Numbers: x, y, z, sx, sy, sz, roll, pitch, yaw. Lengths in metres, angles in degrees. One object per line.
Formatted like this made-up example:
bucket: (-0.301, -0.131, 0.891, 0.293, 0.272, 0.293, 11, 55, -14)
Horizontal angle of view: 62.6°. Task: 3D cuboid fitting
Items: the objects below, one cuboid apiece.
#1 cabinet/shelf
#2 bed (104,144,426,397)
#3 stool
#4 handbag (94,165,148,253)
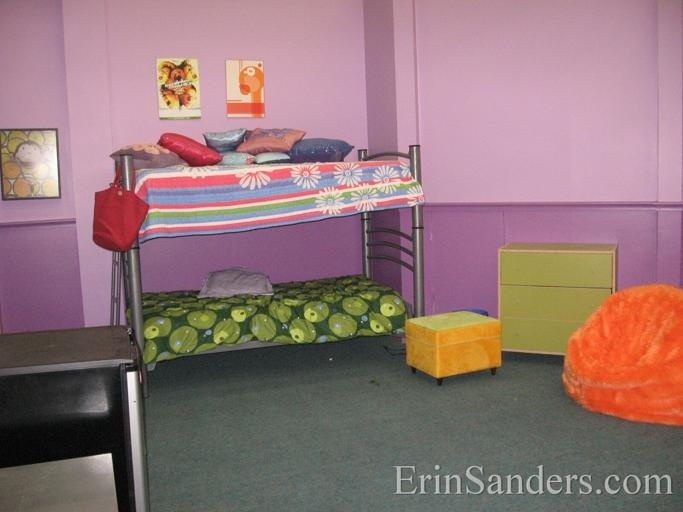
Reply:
cabinet/shelf: (1.722, 0.335, 4.546, 0.840, 0.820, 0.484, 2, 10, 23)
bed: (-0.635, -0.048, 4.690, 2.359, 1.535, 1.167, -5, 8, -23)
stool: (0.832, 0.679, 4.251, 0.618, 0.404, 0.462, -3, 3, -29)
handbag: (-1.491, -0.317, 3.767, 0.284, 0.545, 0.359, -13, 16, -43)
